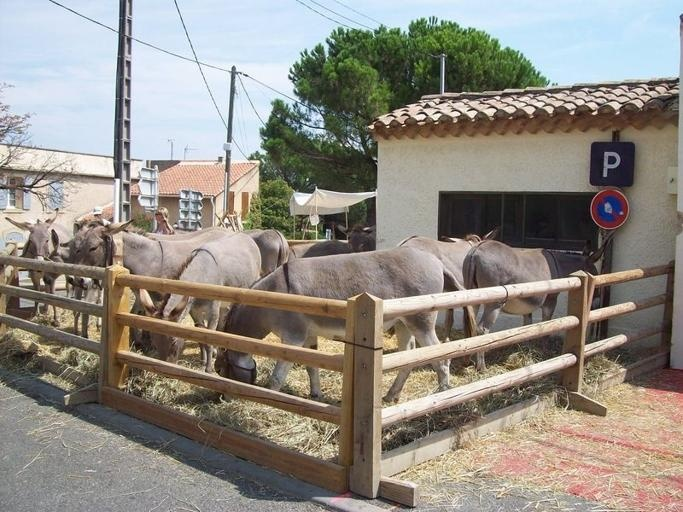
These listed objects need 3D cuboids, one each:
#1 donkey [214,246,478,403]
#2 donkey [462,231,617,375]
[{"bbox_3d":[-0.091,0.750,6.905,2.849,1.624,0.782,-2,-8,0],"label":"donkey"},{"bbox_3d":[2.871,0.557,9.012,2.513,2.003,0.758,2,2,-27],"label":"donkey"}]
